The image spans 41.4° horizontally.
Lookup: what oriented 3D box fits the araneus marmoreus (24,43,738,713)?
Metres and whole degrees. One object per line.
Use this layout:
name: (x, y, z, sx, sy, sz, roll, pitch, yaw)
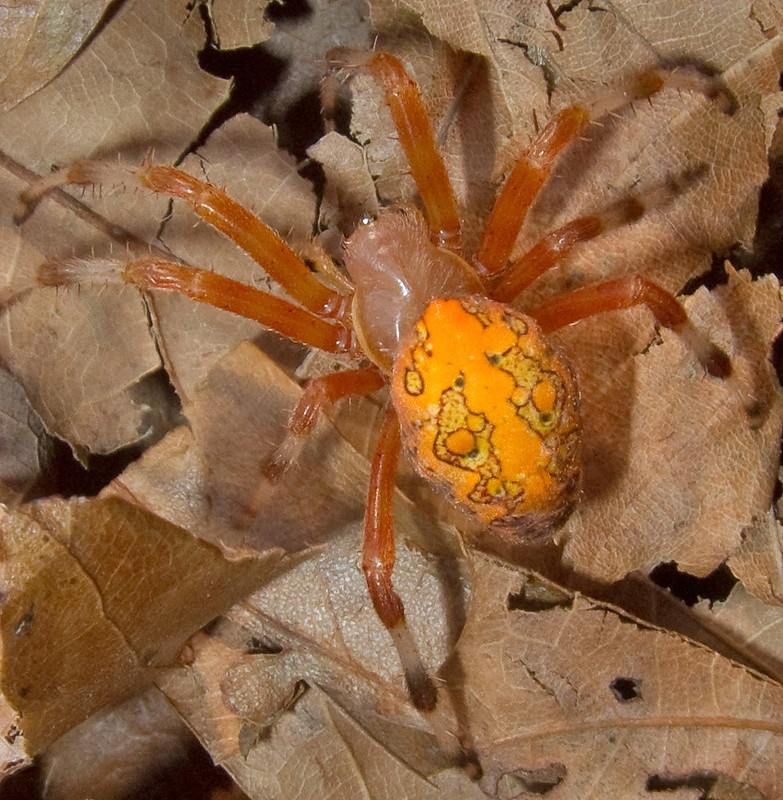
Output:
araneus marmoreus: (0.137, -0.350, 2.301, 1.308, 0.474, 1.272, -41, 86, -3)
